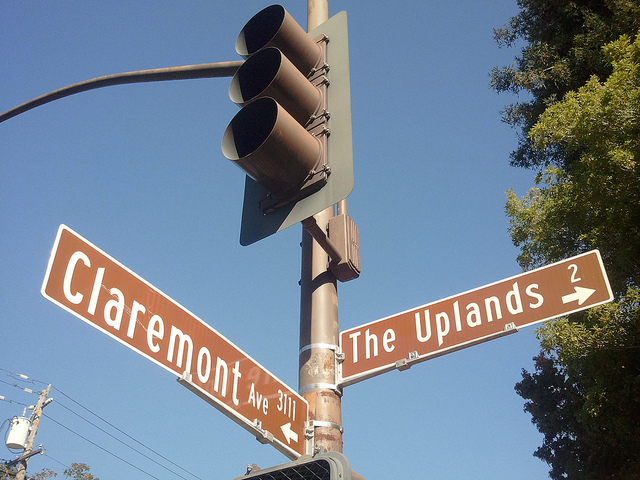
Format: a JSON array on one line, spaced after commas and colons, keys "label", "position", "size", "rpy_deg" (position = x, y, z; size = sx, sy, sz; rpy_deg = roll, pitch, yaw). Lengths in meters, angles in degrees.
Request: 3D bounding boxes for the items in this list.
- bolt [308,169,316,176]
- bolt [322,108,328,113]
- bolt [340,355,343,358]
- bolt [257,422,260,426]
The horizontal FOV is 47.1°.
[{"label": "bolt", "position": [-0.121, -0.982, 10.637], "size": [0.072, 0.089, 0.026], "rpy_deg": [-3, 1, -7]}, {"label": "bolt", "position": [0.065, -1.918, 10.838], "size": [0.067, 0.080, 0.020], "rpy_deg": [0, 0, 17]}, {"label": "bolt", "position": [0.340, 1.845, 11.665], "size": [0.042, 0.029, 0.029], "rpy_deg": [-5, -40, -2]}, {"label": "bolt", "position": [-0.928, 2.748, 10.980], "size": [0.009, 0.045, 0.041], "rpy_deg": [2, -1, 17]}]
